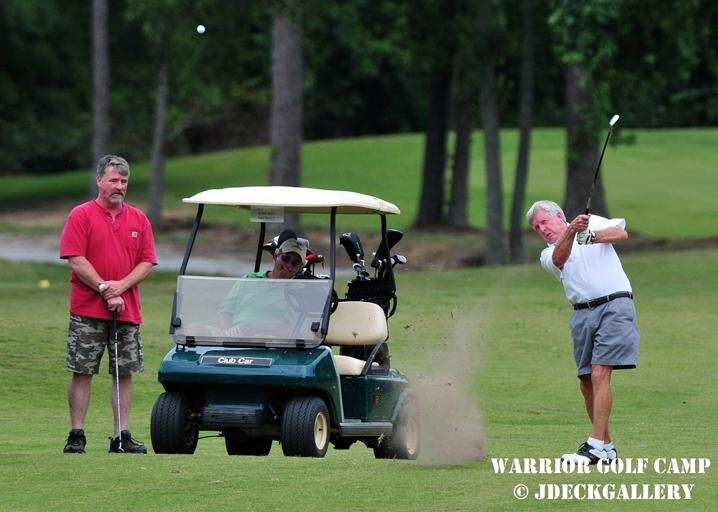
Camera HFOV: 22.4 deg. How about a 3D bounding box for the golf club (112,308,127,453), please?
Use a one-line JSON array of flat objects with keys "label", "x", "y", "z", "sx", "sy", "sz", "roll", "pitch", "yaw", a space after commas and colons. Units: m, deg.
[{"label": "golf club", "x": -3.551, "y": 1.919, "z": 26.889, "sx": 0.255, "sy": 1.781, "sz": 0.259, "roll": 2, "pitch": -4, "yaw": -35}]
